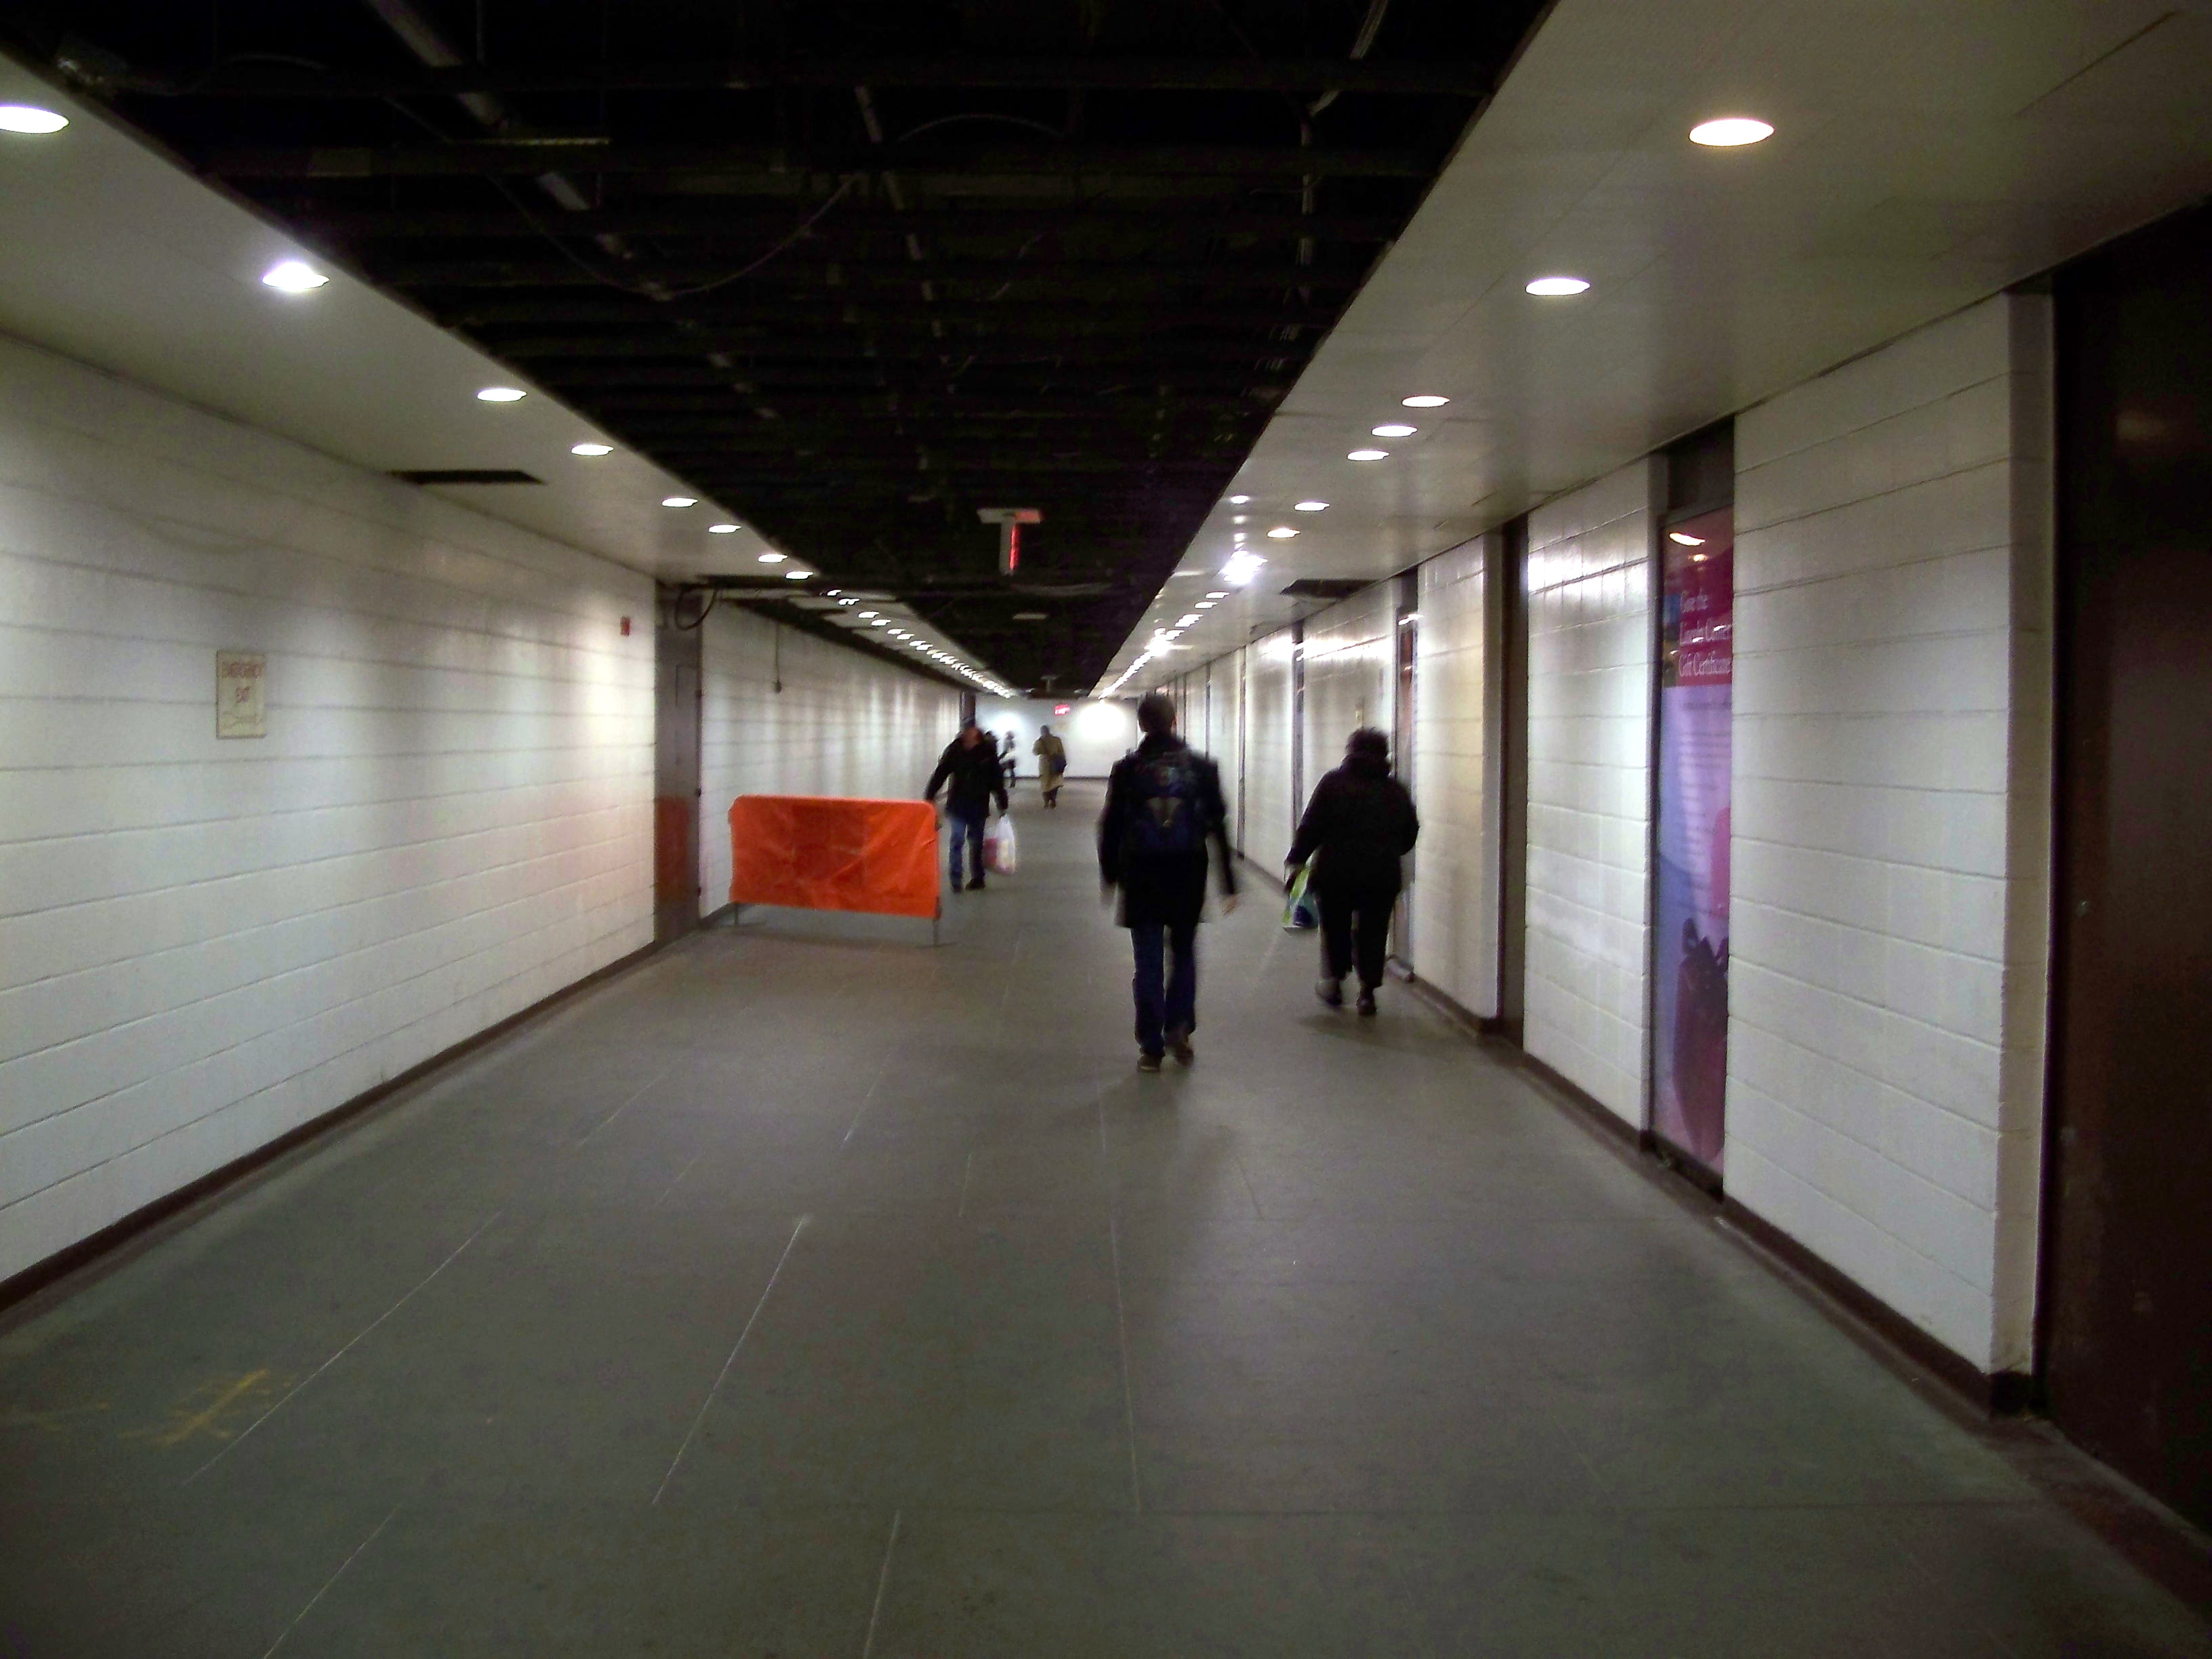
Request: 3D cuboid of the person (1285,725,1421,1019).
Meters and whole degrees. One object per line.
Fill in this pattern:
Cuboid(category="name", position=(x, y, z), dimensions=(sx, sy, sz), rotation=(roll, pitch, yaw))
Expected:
Cuboid(category="person", position=(1.423, 0.241, 7.904), dimensions=(0.682, 1.659, 0.508), rotation=(1, 7, 8))

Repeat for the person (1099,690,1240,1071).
Cuboid(category="person", position=(0.302, 0.243, 6.722), dimensions=(0.627, 1.818, 0.529), rotation=(-7, 10, -44))
